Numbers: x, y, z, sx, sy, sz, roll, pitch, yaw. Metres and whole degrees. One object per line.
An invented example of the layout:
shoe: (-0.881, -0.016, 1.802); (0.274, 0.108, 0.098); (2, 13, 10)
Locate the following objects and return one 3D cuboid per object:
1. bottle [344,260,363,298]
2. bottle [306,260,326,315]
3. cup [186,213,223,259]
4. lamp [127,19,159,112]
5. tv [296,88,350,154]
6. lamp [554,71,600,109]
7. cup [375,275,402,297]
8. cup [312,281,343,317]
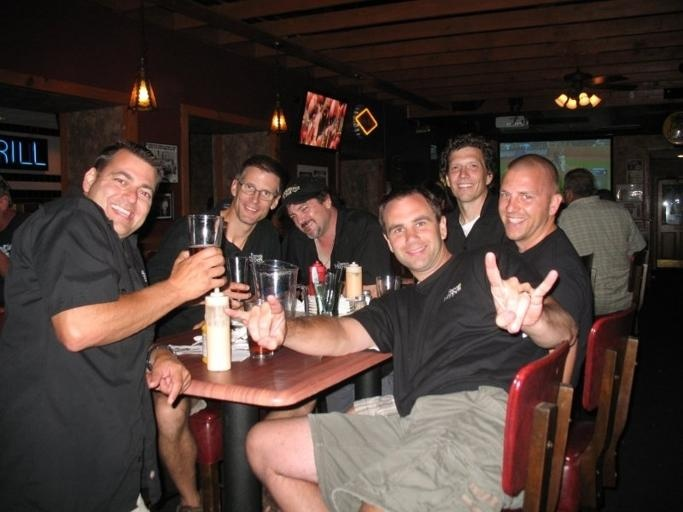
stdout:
bottle: (0.062, 0.152, 3.501); (0.177, 0.215, 0.175); (0, 3, 11)
bottle: (-0.158, 0.171, 3.251); (0.116, 0.348, 0.083); (1, 1, -42)
cup: (-0.637, -0.104, 2.773); (0.186, 0.198, 0.191); (2, -8, 0)
lamp: (-1.940, -1.847, 5.340); (0.259, 0.891, 0.665); (-1, 6, -19)
tv: (-0.298, -2.027, 8.378); (0.102, 0.729, 1.261); (12, 12, 23)
lamp: (3.435, -2.449, 8.092); (0.519, 0.514, 0.524); (3, -23, 10)
cup: (0.301, 0.186, 3.481); (0.123, 0.131, 0.132); (0, -10, 0)
cup: (-0.076, 0.249, 3.304); (0.178, 0.269, 0.227); (2, -2, -13)
